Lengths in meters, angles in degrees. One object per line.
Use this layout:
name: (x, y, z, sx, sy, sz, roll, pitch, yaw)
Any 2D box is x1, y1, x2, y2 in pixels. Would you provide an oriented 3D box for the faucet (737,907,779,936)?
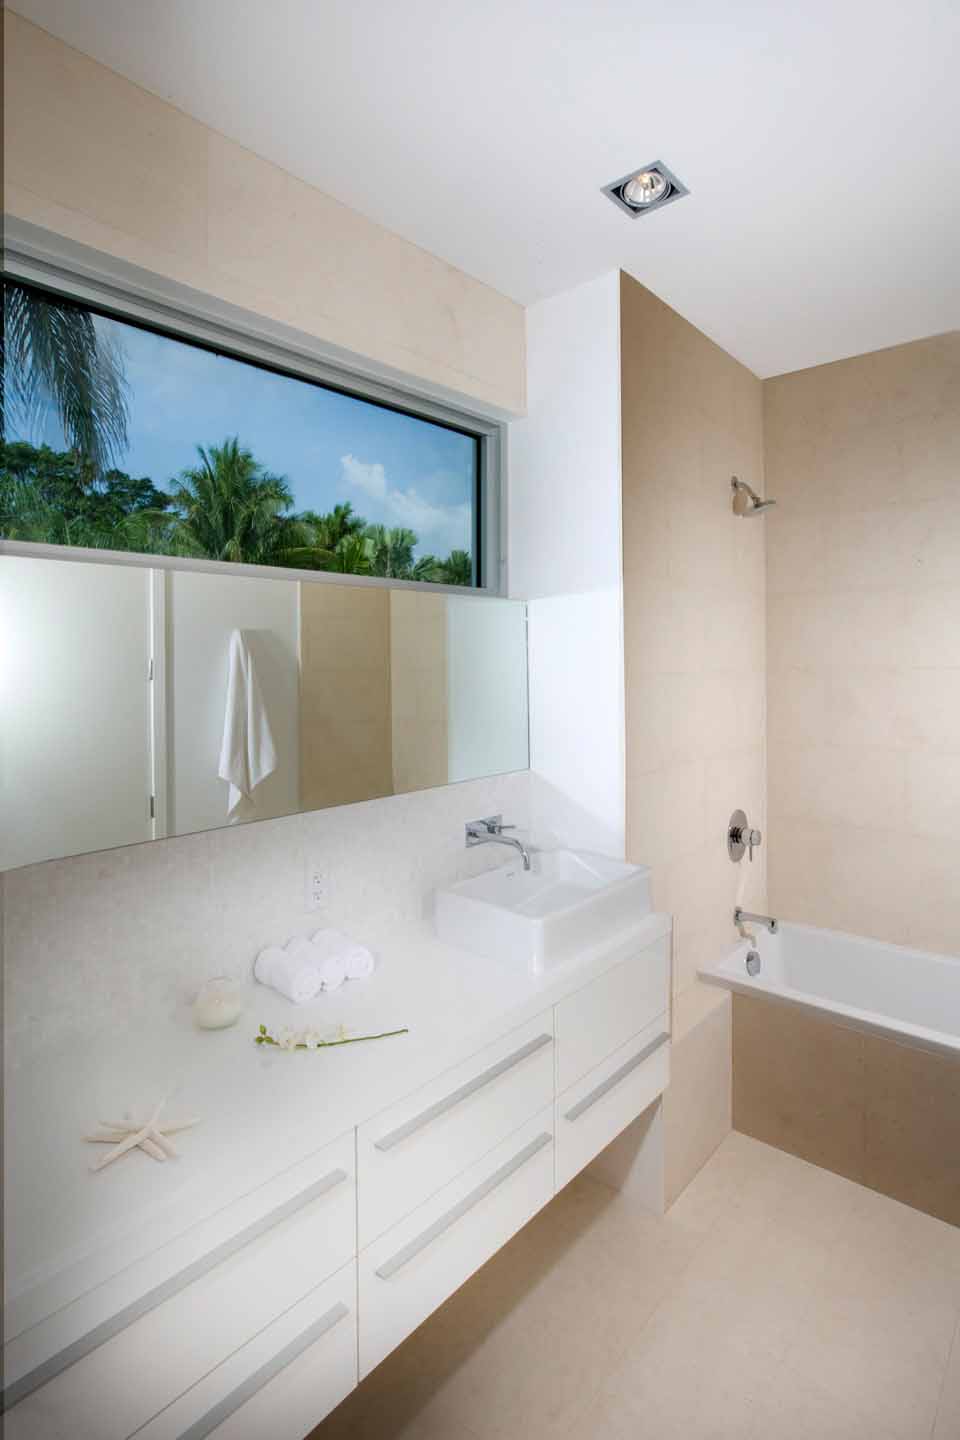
faucet: (0.911, 0.672, 3.039, 0.137, 0.097, 0.079, 3, -2, 45)
